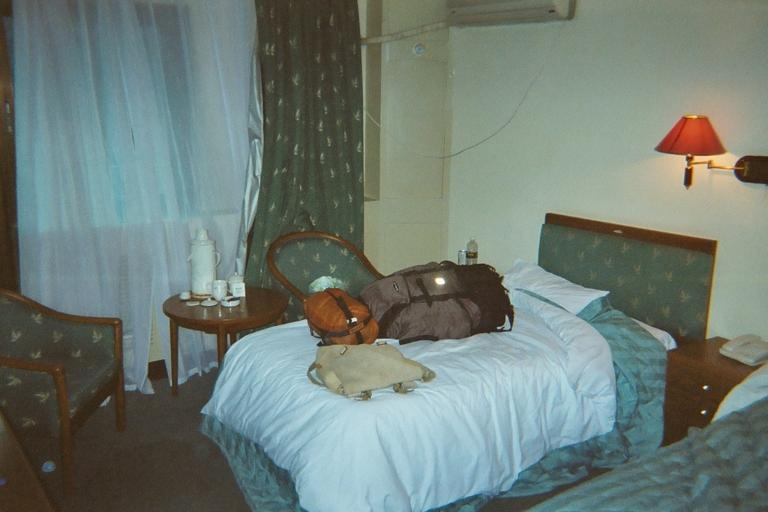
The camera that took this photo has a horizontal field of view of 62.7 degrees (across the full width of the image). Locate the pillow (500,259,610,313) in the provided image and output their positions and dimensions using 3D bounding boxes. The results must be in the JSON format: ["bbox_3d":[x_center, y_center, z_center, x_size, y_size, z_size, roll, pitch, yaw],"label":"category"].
[{"bbox_3d":[1.211,0.233,4.609,0.351,0.100,0.566,-34,37,-32],"label":"pillow"}]

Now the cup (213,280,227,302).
[{"bbox_3d":[-1.162,0.250,4.579,0.095,0.144,0.149,0,-5,-5],"label":"cup"}]

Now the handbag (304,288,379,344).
[{"bbox_3d":[-0.261,0.349,4.114,0.354,0.265,0.361,-4,13,-31],"label":"handbag"}]

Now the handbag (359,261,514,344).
[{"bbox_3d":[0.402,0.320,4.303,0.772,0.239,0.558,-3,42,-12],"label":"handbag"}]

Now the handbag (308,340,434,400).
[{"bbox_3d":[-0.105,0.675,3.688,0.439,0.115,0.382,5,17,10],"label":"handbag"}]
